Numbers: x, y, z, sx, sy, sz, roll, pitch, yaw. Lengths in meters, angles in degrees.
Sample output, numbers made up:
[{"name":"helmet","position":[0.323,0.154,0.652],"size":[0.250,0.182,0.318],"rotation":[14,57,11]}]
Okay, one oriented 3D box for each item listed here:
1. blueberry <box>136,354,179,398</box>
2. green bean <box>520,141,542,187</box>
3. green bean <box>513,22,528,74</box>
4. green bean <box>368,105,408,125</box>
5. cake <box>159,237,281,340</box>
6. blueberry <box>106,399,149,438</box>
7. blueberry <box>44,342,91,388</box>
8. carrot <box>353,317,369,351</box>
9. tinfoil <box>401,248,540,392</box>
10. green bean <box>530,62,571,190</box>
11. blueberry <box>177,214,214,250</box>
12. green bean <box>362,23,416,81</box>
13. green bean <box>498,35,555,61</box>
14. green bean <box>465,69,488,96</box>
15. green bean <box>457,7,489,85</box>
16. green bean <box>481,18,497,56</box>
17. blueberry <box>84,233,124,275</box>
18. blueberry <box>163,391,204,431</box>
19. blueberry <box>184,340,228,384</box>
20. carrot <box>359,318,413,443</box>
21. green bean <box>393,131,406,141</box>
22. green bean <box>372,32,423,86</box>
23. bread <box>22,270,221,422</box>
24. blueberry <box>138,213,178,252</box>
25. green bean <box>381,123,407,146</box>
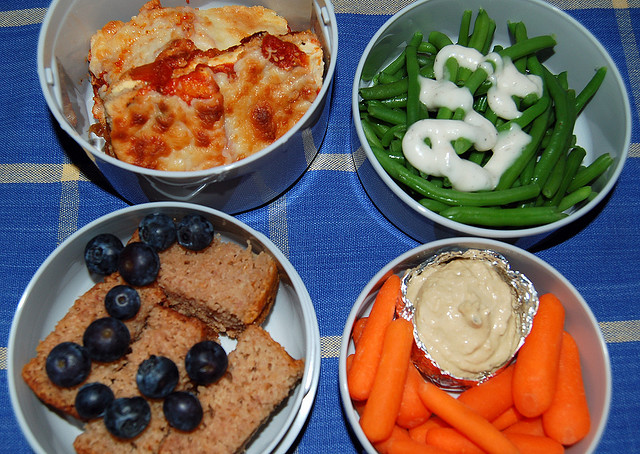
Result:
[{"name":"blueberry","position":[-0.549,0.499,1.978],"size":[0.143,0.083,0.139],"rotation":[-9,72,-4]},{"name":"green bean","position":[0.787,-0.209,2.217],"size":[0.043,0.031,0.229],"rotation":[16,85,8]},{"name":"green bean","position":[0.809,-0.725,2.381],"size":[0.064,0.331,0.092],"rotation":[6,89,20]},{"name":"green bean","position":[0.260,-0.435,2.267],"size":[0.103,0.035,0.035],"rotation":[20,28,-17]},{"name":"cake","position":[-0.378,0.193,2.206],"size":[0.409,0.224,0.273],"rotation":[21,60,7]},{"name":"blueberry","position":[-0.632,0.623,1.929],"size":[0.131,0.047,0.118],"rotation":[2,72,0]},{"name":"blueberry","position":[-0.856,0.456,1.997],"size":[0.135,0.075,0.158],"rotation":[29,81,-14]},{"name":"carrot","position":[0.152,0.380,2.118],"size":[0.061,0.050,0.104],"rotation":[-6,80,20]},{"name":"tinfoil","position":[0.573,0.312,2.021],"size":[0.375,0.220,0.574],"rotation":[3,73,2]},{"name":"green bean","position":[0.896,-0.370,2.280],"size":[0.108,0.116,0.515],"rotation":[2,83,5]},{"name":"blueberry","position":[-0.445,0.021,2.107],"size":[0.127,0.108,0.107],"rotation":[-16,71,-6]},{"name":"green bean","position":[0.282,-0.687,2.326],"size":[0.272,0.074,0.074],"rotation":[-47,40,11]},{"name":"green bean","position":[0.808,-0.708,2.309],"size":[0.227,0.052,0.054],"rotation":[-16,71,-6]},{"name":"green bean","position":[0.601,-0.566,2.267],"size":[0.051,0.039,0.108],"rotation":[42,76,13]},{"name":"green bean","position":[0.611,-0.742,2.346],"size":[0.075,0.072,0.461],"rotation":[11,85,11]},{"name":"green bean","position":[0.670,-0.763,2.339],"size":[0.031,0.166,0.040],"rotation":[11,20,-7]},{"name":"blueberry","position":[-0.779,0.089,2.121],"size":[0.125,0.164,0.125],"rotation":[-28,28,-24]},{"name":"blueberry","position":[-0.457,0.603,1.952],"size":[0.138,0.073,0.115],"rotation":[25,73,8]},{"name":"blueberry","position":[-0.390,0.458,1.996],"size":[0.149,0.097,0.135],"rotation":[-7,71,-3]},{"name":"carrot","position":[0.232,0.512,1.977],"size":[0.105,0.090,0.401],"rotation":[18,73,6]},{"name":"green bean","position":[0.303,-0.358,2.244],"size":[0.039,0.029,0.034],"rotation":[35,74,11]},{"name":"green bean","position":[0.307,-0.689,2.369],"size":[0.198,0.185,0.177],"rotation":[-10,26,-9]},{"name":"bread","position":[-0.696,0.401,2.033],"size":[0.506,0.136,0.561],"rotation":[33,75,1]},{"name":"blueberry","position":[-0.569,0.013,2.128],"size":[0.124,0.127,0.103],"rotation":[15,35,28]},{"name":"green bean","position":[0.280,-0.360,2.249],"size":[0.065,0.087,0.024],"rotation":[-24,62,-6]}]
